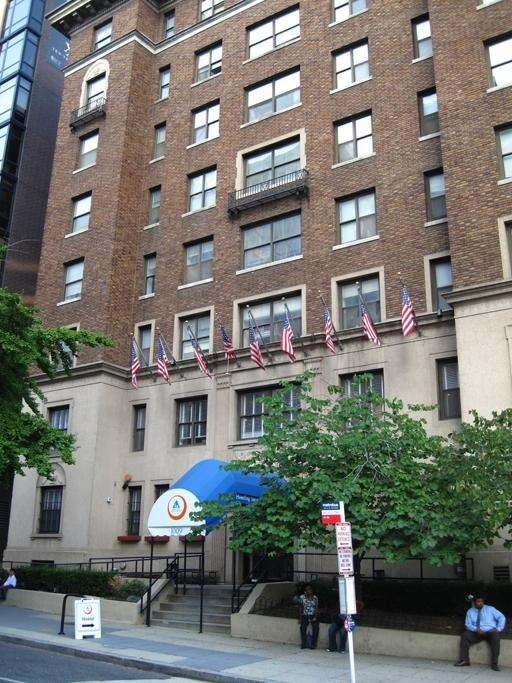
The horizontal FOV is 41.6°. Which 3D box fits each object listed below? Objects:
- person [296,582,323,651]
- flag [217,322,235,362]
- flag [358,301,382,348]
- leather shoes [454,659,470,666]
[{"bbox_3d":[1.201,6.370,15.556,0.469,1.357,1.058,-3,-17,3],"label":"person"},{"bbox_3d":[-1.123,0.042,25.752,0.247,0.580,1.803,-31,-38,-3],"label":"flag"},{"bbox_3d":[3.680,-0.603,21.674,0.536,1.436,1.884,-5,-17,10],"label":"flag"},{"bbox_3d":[4.034,6.257,13.127,0.328,0.130,0.109,-2,-23,17],"label":"leather shoes"}]
